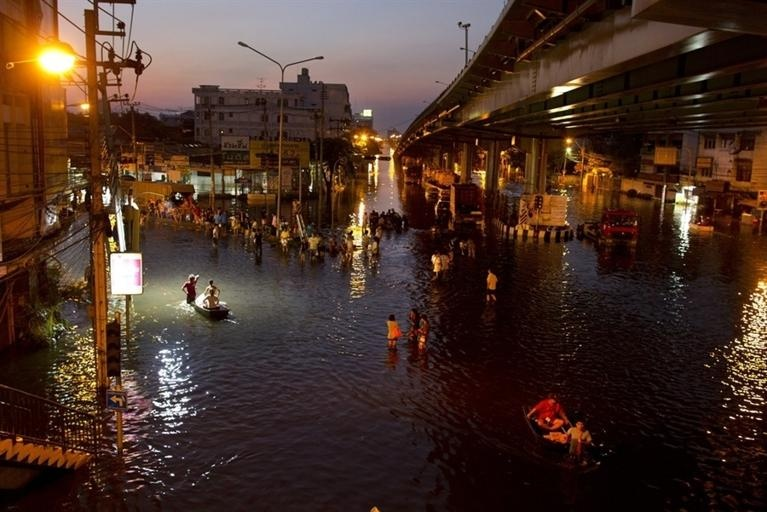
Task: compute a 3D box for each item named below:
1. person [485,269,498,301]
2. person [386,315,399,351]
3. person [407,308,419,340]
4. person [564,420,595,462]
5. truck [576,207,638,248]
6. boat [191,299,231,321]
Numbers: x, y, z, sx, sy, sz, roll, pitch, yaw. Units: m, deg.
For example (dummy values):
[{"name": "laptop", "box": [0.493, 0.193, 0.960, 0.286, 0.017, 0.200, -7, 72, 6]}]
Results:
[{"name": "person", "box": [6.569, 1.716, 34.178, 0.591, 1.692, 1.489, 4, 14, 10]}, {"name": "person", "box": [0.545, 3.424, 26.375, 0.575, 1.610, 0.907, 1, 14, -1]}, {"name": "person", "box": [1.490, 3.323, 26.851, 0.413, 1.476, 0.637, 2, 14, 4]}, {"name": "person", "box": [6.411, 6.175, 18.671, 0.764, 1.835, 0.537, 14, 35, 33]}, {"name": "truck", "box": [21.397, -2.692, 53.900, 3.025, 3.306, 7.374, 0, 5, -2]}, {"name": "boat", "box": [-9.145, 2.780, 29.971, 2.348, 0.761, 0.919, 14, 19, 42]}]
